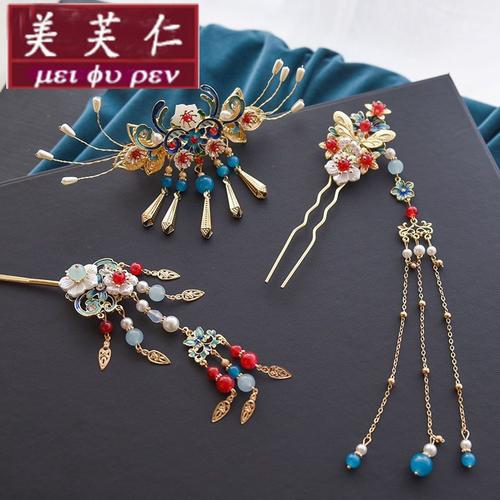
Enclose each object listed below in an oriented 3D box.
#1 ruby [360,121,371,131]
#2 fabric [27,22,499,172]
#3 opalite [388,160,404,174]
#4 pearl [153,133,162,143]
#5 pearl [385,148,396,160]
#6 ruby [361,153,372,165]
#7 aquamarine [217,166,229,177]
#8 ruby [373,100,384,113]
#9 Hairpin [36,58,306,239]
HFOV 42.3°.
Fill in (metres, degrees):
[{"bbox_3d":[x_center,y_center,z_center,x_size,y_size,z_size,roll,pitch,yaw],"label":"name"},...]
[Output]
[{"bbox_3d":[0.313,-0.328,1.730,0.031,0.027,0.019,6,0,5],"label":"ruby"},{"bbox_3d":[-0.027,-0.412,1.871,1.665,0.464,0.114,-1,-18,-1],"label":"fabric"},{"bbox_3d":[0.390,-0.219,1.717,0.041,0.037,0.023,0,-14,17],"label":"opalite"},{"bbox_3d":[-0.239,-0.287,1.662,0.030,0.024,0.026,-2,6,12],"label":"pearl"},{"bbox_3d":[0.379,-0.255,1.734,0.031,0.022,0.034,-5,15,-17],"label":"pearl"},{"bbox_3d":[0.310,-0.238,1.713,0.037,0.026,0.014,-4,7,3],"label":"ruby"},{"bbox_3d":[-0.072,-0.209,1.730,0.030,0.030,0.027,-9,-21,-30],"label":"aquamarine"},{"bbox_3d":[0.352,-0.385,1.753,0.038,0.024,0.032,3,-9,14],"label":"ruby"},{"bbox_3d":[-0.220,-0.269,1.794,0.819,0.445,0.057,-11,-39,-3],"label":"Hairpin"}]
